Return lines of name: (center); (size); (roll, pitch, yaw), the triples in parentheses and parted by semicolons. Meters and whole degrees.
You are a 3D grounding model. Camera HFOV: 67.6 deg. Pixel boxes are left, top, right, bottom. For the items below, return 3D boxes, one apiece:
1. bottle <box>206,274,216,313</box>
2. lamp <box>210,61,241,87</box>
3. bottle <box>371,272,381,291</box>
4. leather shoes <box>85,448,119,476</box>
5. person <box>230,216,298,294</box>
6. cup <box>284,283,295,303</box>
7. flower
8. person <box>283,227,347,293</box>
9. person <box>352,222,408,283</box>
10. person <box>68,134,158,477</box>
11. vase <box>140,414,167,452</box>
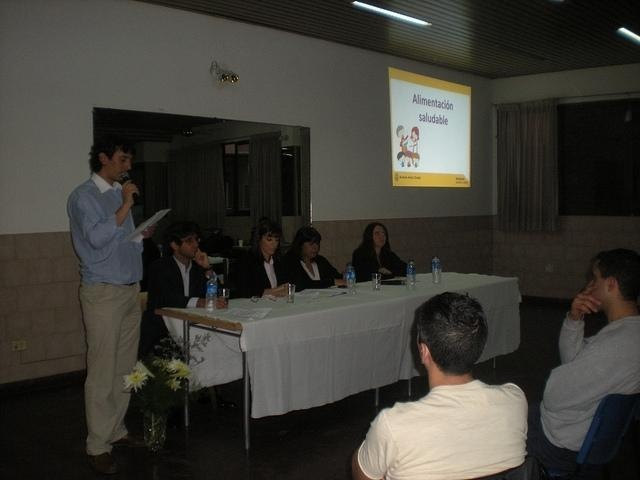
bottle: (-0.825, 0.396, 3.665); (0.080, 0.248, 0.207); (-1, 4, -13)
lamp: (-1.148, -2.058, 5.922); (0.404, 0.283, 0.102); (-4, 5, -40)
bottle: (0.566, 0.403, 4.577); (0.112, 0.209, 0.122); (-1, -1, 0)
leather shoes: (-1.461, 1.476, 3.225); (0.254, 0.129, 0.105); (-7, -11, 42)
person: (-0.491, 0.211, 4.516); (0.533, 0.823, 0.586); (-4, 21, -21)
cup: (-0.229, 0.426, 3.871); (0.091, 0.190, 0.119); (1, -3, 1)
flower: (-1.131, 1.108, 3.357); (0.330, 0.636, 0.395); (2, -28, -13)
person: (-0.051, 0.229, 5.005); (0.602, 0.756, 0.778); (-7, 10, -39)
person: (0.702, 0.244, 5.836); (0.896, 0.918, 0.525); (4, -6, -34)
person: (-1.422, 0.421, 3.279); (0.454, 2.200, 0.442); (1, 4, 18)
vase: (-1.174, 1.360, 3.437); (0.153, 0.270, 0.165); (-4, -8, 21)
